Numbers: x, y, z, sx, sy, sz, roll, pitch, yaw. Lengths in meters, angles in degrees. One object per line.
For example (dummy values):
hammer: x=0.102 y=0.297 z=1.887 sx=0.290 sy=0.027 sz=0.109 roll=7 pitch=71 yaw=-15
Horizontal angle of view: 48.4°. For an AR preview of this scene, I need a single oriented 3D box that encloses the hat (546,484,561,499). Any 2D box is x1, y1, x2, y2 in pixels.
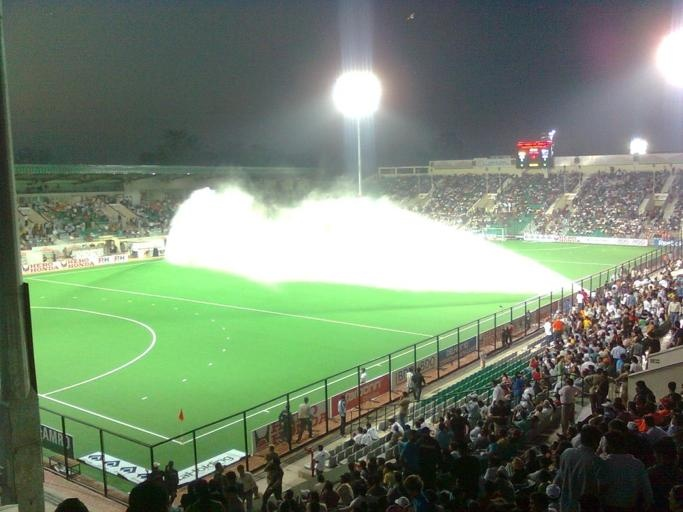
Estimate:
hat: x=4.167 y=4.598 z=14.891 sx=0.217 sy=0.311 sz=0.333 roll=-23 pitch=-34 yaw=28
